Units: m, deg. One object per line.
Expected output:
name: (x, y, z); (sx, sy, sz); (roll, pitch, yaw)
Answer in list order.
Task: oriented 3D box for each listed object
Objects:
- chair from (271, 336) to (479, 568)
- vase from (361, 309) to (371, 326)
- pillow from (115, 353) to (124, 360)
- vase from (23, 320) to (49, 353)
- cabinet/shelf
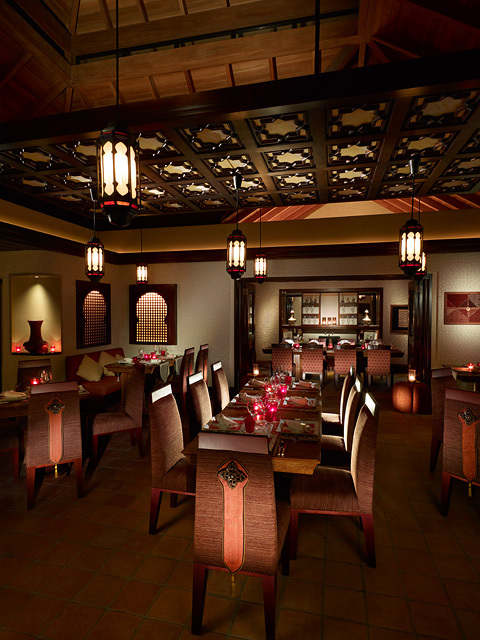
chair: (0.766, 1.079, 2.868); (0.898, 1.675, 0.923); (0, -5, 11)
vase: (3.110, -0.083, 11.017); (0.193, 0.366, 0.347); (1, 4, 11)
pillow: (-2.180, 0.667, 8.142); (0.156, 0.095, 0.238); (2, 3, 4)
vase: (-3.160, 0.260, 6.934); (0.330, 0.517, 0.311); (-4, 5, -44)
cabinet/shelf: (2.239, -0.148, 11.154); (2.464, 1.325, 0.965); (2, 4, 17)
